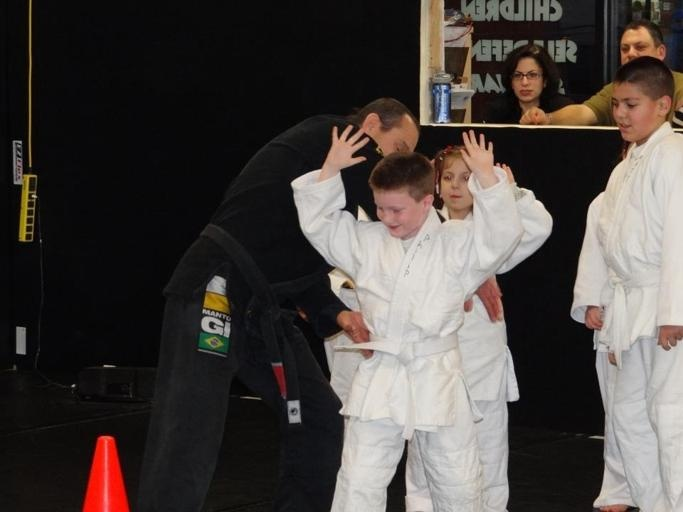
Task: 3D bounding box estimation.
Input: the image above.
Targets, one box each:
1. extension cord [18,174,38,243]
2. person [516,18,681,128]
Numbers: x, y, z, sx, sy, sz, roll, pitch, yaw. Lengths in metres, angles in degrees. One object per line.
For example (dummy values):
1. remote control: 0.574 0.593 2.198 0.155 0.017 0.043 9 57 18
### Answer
1. extension cord: -2.334 -0.354 5.246 0.116 0.486 0.094 18 13 39
2. person: 1.646 -1.072 4.380 0.863 0.502 0.621 -7 8 -38
